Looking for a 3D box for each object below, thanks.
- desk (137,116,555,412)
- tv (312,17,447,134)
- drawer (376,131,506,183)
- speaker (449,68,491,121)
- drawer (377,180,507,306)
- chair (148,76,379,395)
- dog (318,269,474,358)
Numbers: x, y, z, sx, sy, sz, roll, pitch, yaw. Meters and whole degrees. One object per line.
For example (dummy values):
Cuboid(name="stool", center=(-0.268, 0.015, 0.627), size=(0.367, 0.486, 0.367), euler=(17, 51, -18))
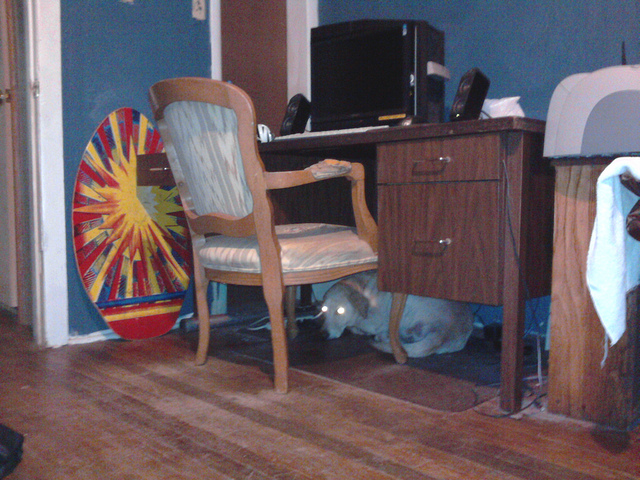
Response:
Cuboid(name="desk", center=(0.158, 0.084, 3.169), size=(2.008, 0.947, 1.095), euler=(1, 0, 41))
Cuboid(name="tv", center=(0.139, -0.807, 3.301), size=(0.631, 0.497, 0.348), euler=(-8, 22, -13))
Cuboid(name="drawer", center=(0.416, -0.287, 2.378), size=(0.474, 0.187, 0.054), euler=(9, 20, 34))
Cuboid(name="speaker", center=(0.568, -0.555, 2.609), size=(0.150, 0.193, 0.101), euler=(-14, 20, -33))
Cuboid(name="drawer", center=(0.479, -0.010, 2.479), size=(0.424, 0.384, 0.436), euler=(3, 6, 39))
Cuboid(name="chair", center=(-0.199, -0.044, 2.786), size=(0.862, 1.079, 0.860), euler=(3, 6, 35))
Cuboid(name="dog", center=(0.301, 0.317, 2.845), size=(0.525, 0.202, 0.380), euler=(3, 7, 5))
